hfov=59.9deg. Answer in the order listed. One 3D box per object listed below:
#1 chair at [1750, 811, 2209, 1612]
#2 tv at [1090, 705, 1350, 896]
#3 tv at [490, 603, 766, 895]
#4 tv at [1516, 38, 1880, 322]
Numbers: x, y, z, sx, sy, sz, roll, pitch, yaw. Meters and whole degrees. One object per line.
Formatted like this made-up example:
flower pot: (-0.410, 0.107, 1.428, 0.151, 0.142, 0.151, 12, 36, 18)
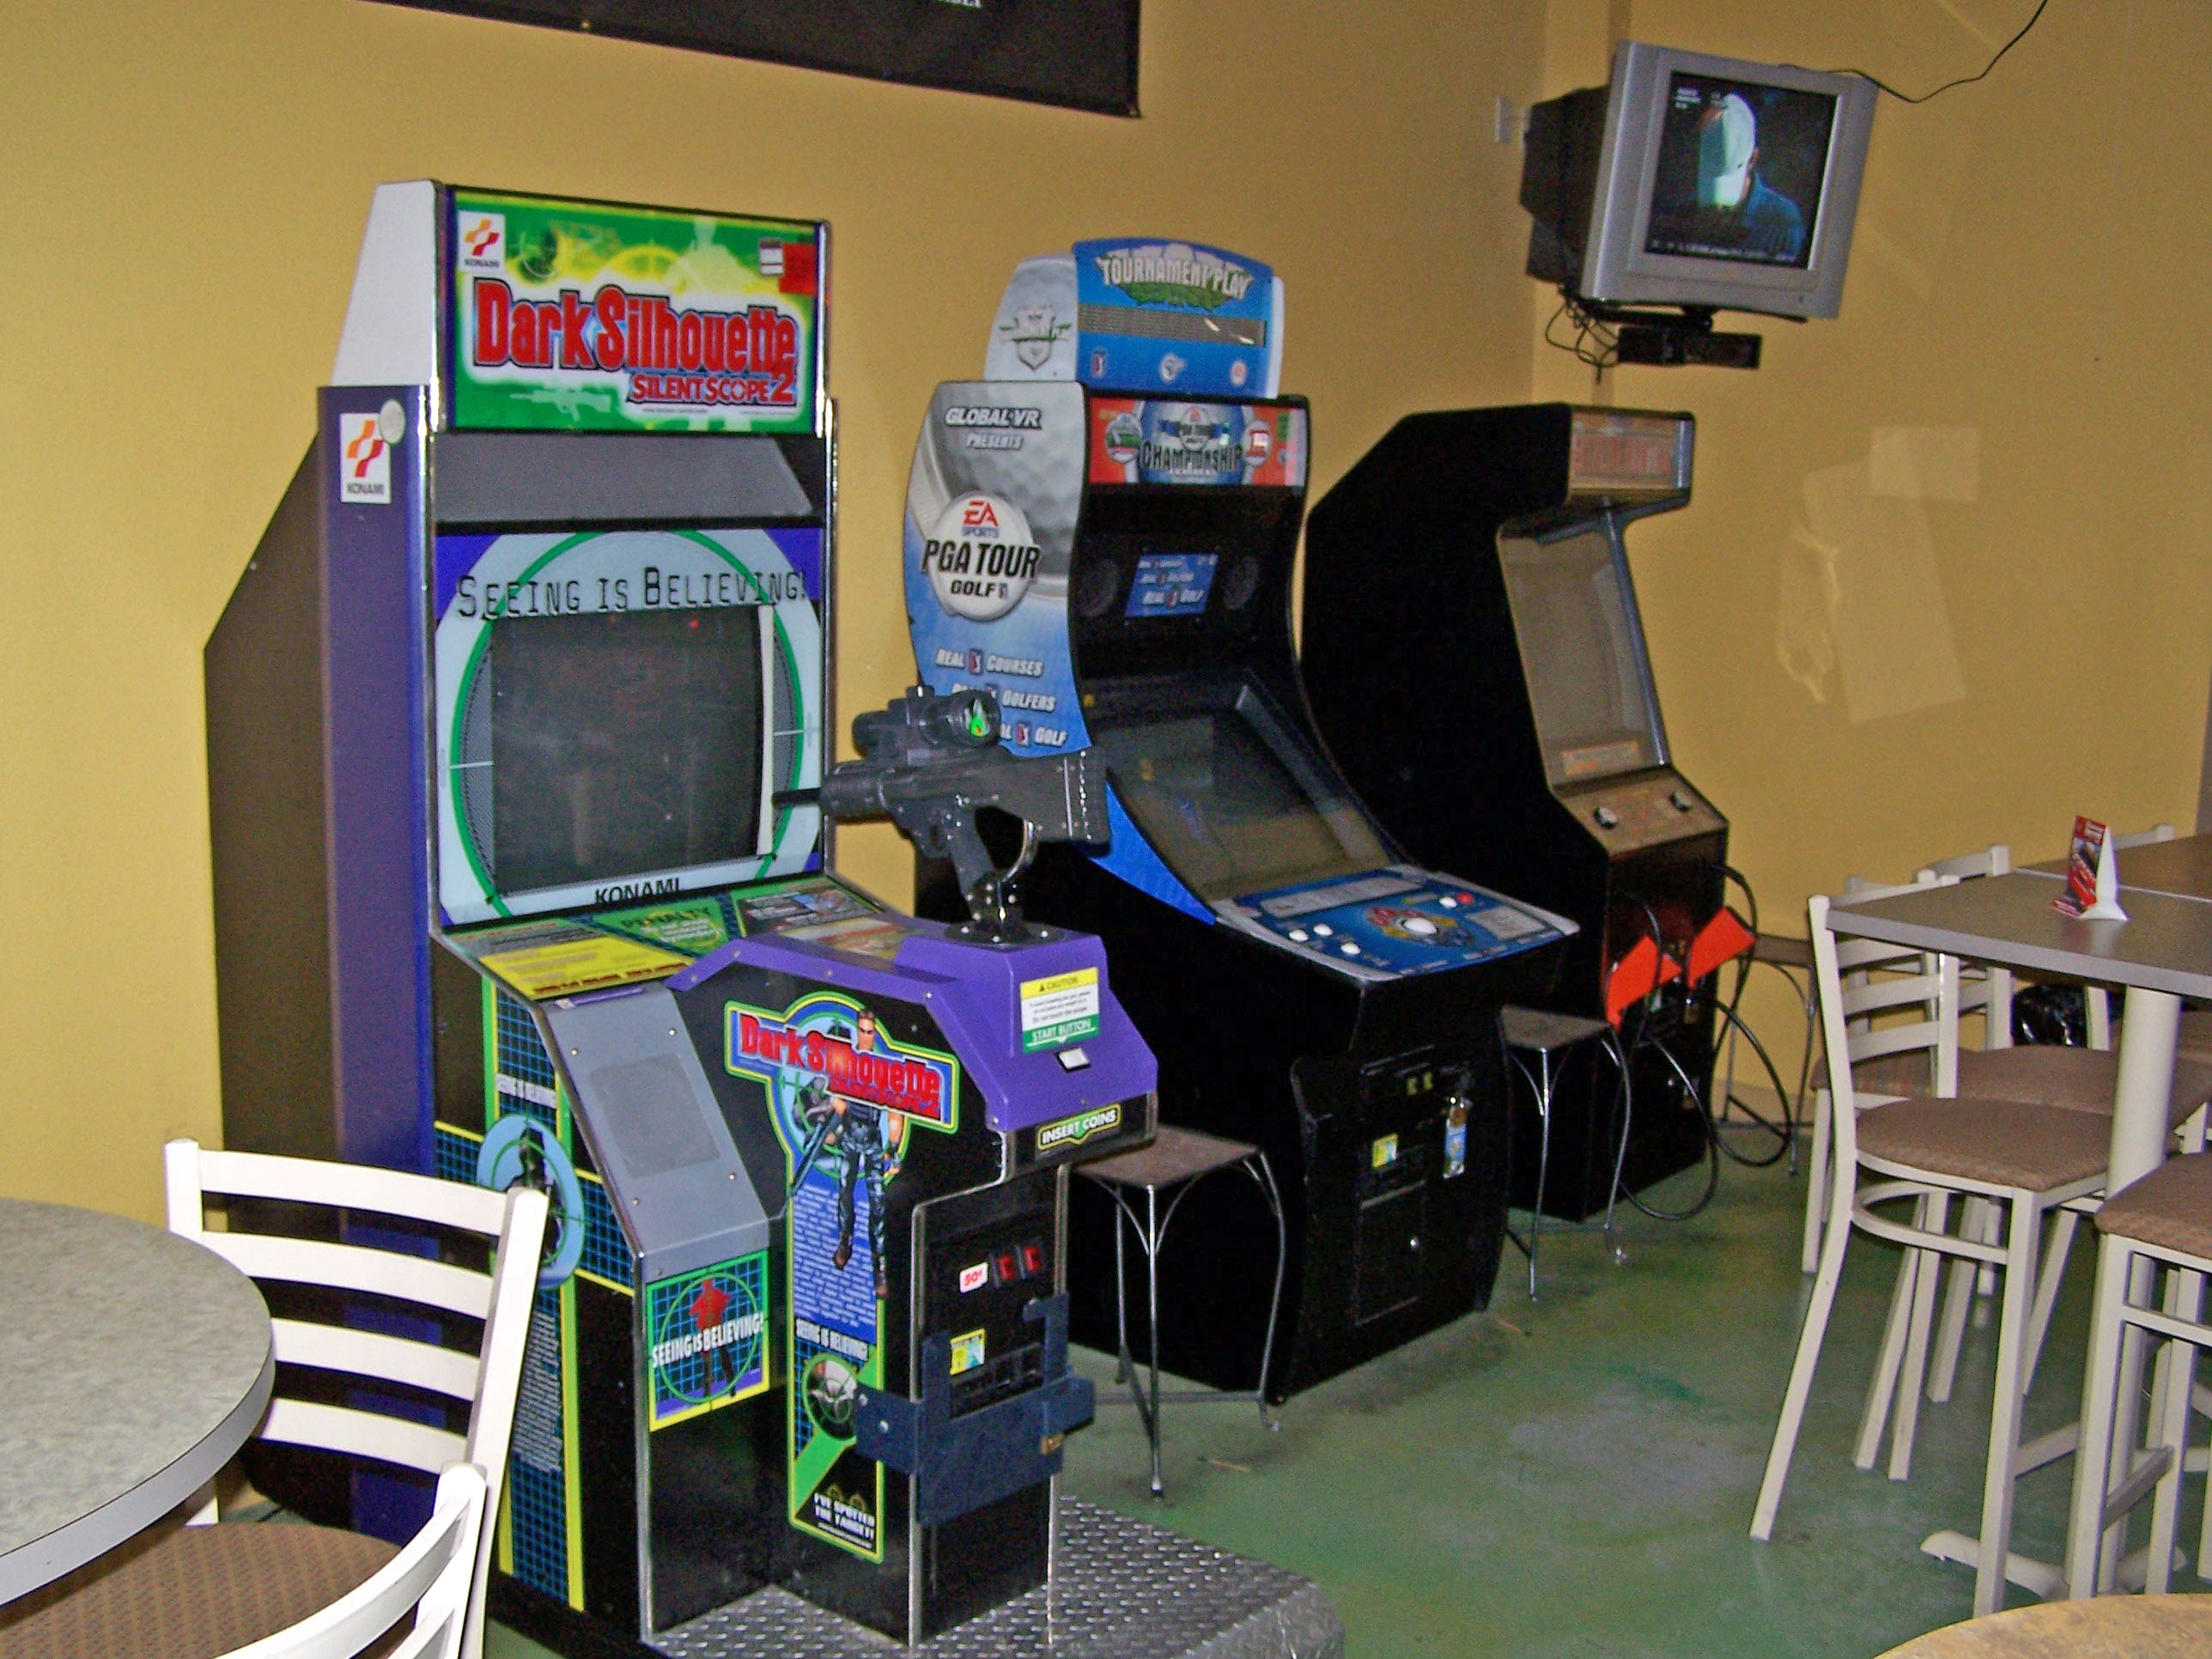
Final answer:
chair: (1.760, 0.731, 3.863, 0.724, 1.182, 1.255, 6, 13, 26)
tv: (0.253, -0.077, 4.345, 0.559, 0.354, 0.391, -8, 23, -43)
tv: (-0.828, -0.155, 3.577, 0.636, 0.580, 0.237, -4, -4, 6)
tv: (1.533, -1.776, 5.558, 0.812, 0.698, 0.927, -4, 6, -37)
